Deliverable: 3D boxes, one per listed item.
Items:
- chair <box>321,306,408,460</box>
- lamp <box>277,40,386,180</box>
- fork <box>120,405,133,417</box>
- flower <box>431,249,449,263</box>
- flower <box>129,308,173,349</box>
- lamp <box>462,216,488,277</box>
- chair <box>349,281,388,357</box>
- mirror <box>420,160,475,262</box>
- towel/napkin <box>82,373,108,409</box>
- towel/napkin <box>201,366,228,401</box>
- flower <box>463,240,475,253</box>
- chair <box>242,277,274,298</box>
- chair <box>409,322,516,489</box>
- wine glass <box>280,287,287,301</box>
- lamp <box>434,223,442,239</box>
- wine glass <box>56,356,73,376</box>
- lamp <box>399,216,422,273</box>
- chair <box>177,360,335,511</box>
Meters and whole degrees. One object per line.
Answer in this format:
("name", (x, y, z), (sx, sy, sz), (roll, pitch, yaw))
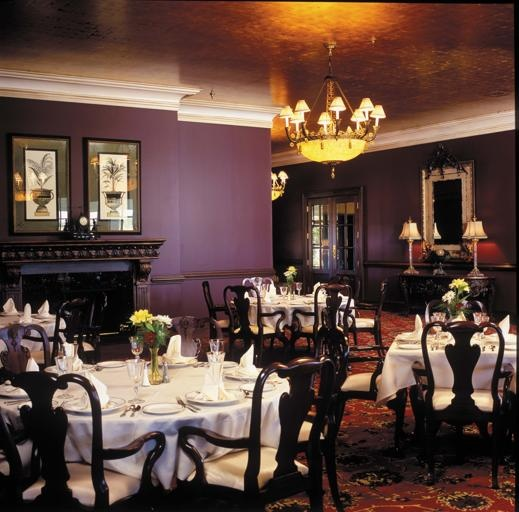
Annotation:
("chair", (0.852, 0.938, 4.178), (0.751, 1.204, 0.794), (1, 2, 10))
("lamp", (1.041, -2.036, 7.213), (1.411, 2.149, 1.449), (3, 5, 40))
("fork", (-0.584, 0.694, 2.365), (0.019, 0.016, 0.061), (4, 11, -1))
("flower", (3.366, -0.004, 9.887), (0.198, 0.184, 0.245), (-1, -8, 4))
("flower", (-0.602, 0.383, 2.915), (0.204, 0.227, 0.212), (-3, -1, 35))
("lamp", (3.683, -0.180, 9.071), (0.417, 1.042, 0.850), (0, 2, 23))
("chair", (1.545, 0.874, 7.452), (0.713, 1.214, 0.895), (1, 0, 9))
("mirror", (3.462, -0.840, 9.807), (0.179, 1.754, 1.102), (-2, 3, -32))
("towel/napkin", (-0.730, 0.603, 2.335), (0.049, 0.169, 0.166), (-21, 45, -4))
("towel/napkin", (-0.209, 0.599, 2.521), (0.126, 0.170, 0.131), (4, -2, 30))
("flower", (3.714, -0.178, 9.419), (0.065, 0.186, 0.120), (3, -6, -41))
("chair", (0.002, 0.410, 7.031), (0.377, 0.425, 0.247), (-1, -1, 13))
("chair", (1.315, 0.843, 3.404), (0.539, 0.959, 0.862), (0, 2, 17))
("wine glass", (0.309, 0.474, 6.755), (0.115, 0.188, 0.113), (-1, 2, -16))
("lamp", (3.344, -0.462, 9.977), (0.206, 0.258, 0.216), (-1, 3, 21))
("wine glass", (-0.942, 0.538, 2.591), (0.091, 0.076, 0.080), (-1, 0, 21))
("lamp", (2.896, -0.218, 10.149), (0.414, 1.050, 0.996), (0, 2, 17))
("chair", (-0.018, 0.798, 2.334), (0.702, 0.741, 0.477), (-1, 2, 4))
